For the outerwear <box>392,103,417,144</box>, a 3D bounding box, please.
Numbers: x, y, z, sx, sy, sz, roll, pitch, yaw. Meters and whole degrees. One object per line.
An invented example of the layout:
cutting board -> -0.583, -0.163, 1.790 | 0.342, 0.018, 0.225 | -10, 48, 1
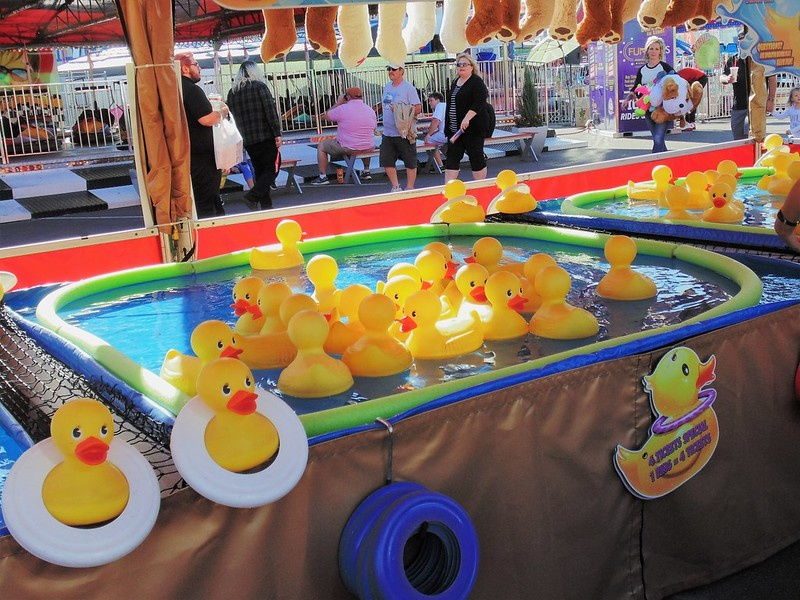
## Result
outerwear -> 0.096, -2.853, 8.300 | 0.352, 0.491, 0.193 | 2, 1, 0

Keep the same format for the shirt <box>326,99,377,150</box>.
shirt -> -0.987, -3.712, 10.407 | 0.850, 0.901, 0.991 | -9, 45, -12

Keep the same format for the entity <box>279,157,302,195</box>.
entity -> -2.390, -2.788, 11.212 | 0.365, 0.665, 1.978 | -9, 22, -10

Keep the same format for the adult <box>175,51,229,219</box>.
adult -> -2.189, -1.810, 5.736 | 0.488, 1.777, 0.717 | -12, 22, -20

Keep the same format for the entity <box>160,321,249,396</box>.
entity -> -0.851, 0.255, 2.229 | 0.297, 0.309, 0.224 | 5, 19, 11

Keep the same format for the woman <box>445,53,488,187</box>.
woman -> 0.959, -2.598, 7.369 | 0.655, 1.685, 0.626 | -1, 21, 9

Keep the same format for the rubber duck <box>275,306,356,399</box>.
rubber duck -> -0.406, 0.203, 2.644 | 0.411, 0.424, 0.380 | 7, 15, 35

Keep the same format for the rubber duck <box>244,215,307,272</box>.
rubber duck -> -1.102, -0.522, 4.702 | 0.522, 0.467, 0.342 | -13, 25, -30

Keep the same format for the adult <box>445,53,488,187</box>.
adult -> 0.960, -2.603, 7.382 | 0.654, 1.685, 0.653 | -1, 21, 9

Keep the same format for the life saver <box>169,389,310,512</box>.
life saver -> -0.424, 0.395, 1.378 | 0.328, 0.209, 0.301 | -14, 24, -22

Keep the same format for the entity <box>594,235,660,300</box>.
entity -> 1.510, -0.255, 3.556 | 0.389, 0.445, 0.413 | -13, 21, -30

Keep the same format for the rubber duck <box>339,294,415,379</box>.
rubber duck -> -0.087, 0.153, 2.800 | 0.413, 0.427, 0.388 | 6, 23, 20

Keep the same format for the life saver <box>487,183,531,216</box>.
life saver -> 1.201, -1.039, 5.423 | 0.342, 0.216, 0.355 | -7, 12, 1

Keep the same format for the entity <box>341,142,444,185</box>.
entity -> -0.163, -2.794, 10.546 | 1.696, 0.473, 0.645 | -21, 30, -39

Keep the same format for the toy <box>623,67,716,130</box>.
toy -> 4.854, -3.706, 9.841 | 1.855, 0.885, 1.922 | -11, 19, -5

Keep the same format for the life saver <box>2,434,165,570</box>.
life saver -> -0.716, 0.450, 1.151 | 0.264, 0.064, 0.275 | 8, 40, -17
